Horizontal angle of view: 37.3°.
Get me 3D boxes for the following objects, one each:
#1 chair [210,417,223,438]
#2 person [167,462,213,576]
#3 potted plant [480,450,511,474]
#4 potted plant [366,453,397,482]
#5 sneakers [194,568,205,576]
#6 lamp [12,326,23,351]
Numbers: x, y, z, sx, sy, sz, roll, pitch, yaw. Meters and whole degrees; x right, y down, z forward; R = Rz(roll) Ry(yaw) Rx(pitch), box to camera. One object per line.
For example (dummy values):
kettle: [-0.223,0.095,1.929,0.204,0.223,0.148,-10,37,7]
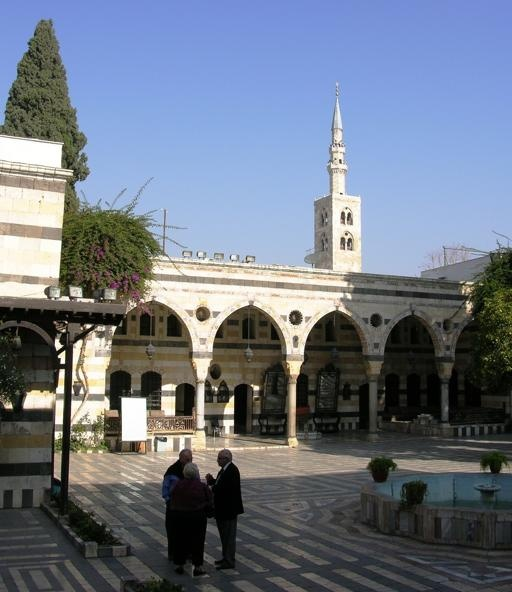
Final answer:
chair: [-1.307,4.531,26.423,0.523,0.695,0.537,4,-11,-18]
person: [-0.800,2.542,8.656,0.419,1.259,0.483,10,-14,-41]
potted plant: [3.996,2.814,12.749,0.357,0.359,0.721,-4,-10,22]
potted plant: [2.195,3.001,13.110,0.432,0.417,0.495,3,-10,-16]
sneakers: [-0.644,3.135,8.641,0.141,0.094,0.219,1,-9,-2]
lamp: [-3.672,0.628,11.721,0.126,0.368,0.807,4,-10,-17]
